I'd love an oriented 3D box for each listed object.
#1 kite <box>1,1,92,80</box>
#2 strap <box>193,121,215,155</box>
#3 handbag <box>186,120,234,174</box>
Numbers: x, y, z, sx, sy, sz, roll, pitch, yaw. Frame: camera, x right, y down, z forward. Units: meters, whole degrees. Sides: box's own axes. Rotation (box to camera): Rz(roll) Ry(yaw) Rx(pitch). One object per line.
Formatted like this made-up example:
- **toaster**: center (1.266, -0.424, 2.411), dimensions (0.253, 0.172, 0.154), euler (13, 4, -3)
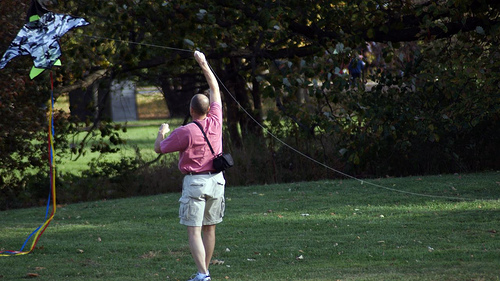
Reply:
- **kite**: center (-5.196, -2.524, 19.180), dimensions (2.101, 1.877, 0.148), euler (-20, 3, -2)
- **strap**: center (-0.971, -0.050, 15.823), dimensions (0.082, 0.758, 0.113), euler (-33, -8, -10)
- **handbag**: center (-0.800, 0.079, 16.039), dimensions (0.421, 1.140, 0.740), euler (-32, -3, 10)
